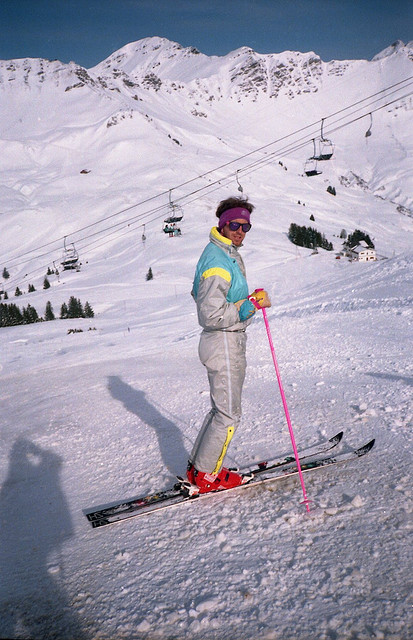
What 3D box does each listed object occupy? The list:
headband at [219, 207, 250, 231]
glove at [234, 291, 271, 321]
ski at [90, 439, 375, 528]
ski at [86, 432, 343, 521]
[{"bbox_3d":[0.204,-0.758,4.077,0.176,0.118,0.180,2,4,27],"label":"headband"},{"bbox_3d":[0.331,-0.105,3.951,0.255,0.202,0.273,-9,7,5],"label":"glove"},{"bbox_3d":[0.259,1.285,4.127,1.939,0.155,0.209,-14,-3,-15],"label":"ski"},{"bbox_3d":[0.112,1.278,4.298,1.758,0.159,0.175,-18,18,-11],"label":"ski"}]
